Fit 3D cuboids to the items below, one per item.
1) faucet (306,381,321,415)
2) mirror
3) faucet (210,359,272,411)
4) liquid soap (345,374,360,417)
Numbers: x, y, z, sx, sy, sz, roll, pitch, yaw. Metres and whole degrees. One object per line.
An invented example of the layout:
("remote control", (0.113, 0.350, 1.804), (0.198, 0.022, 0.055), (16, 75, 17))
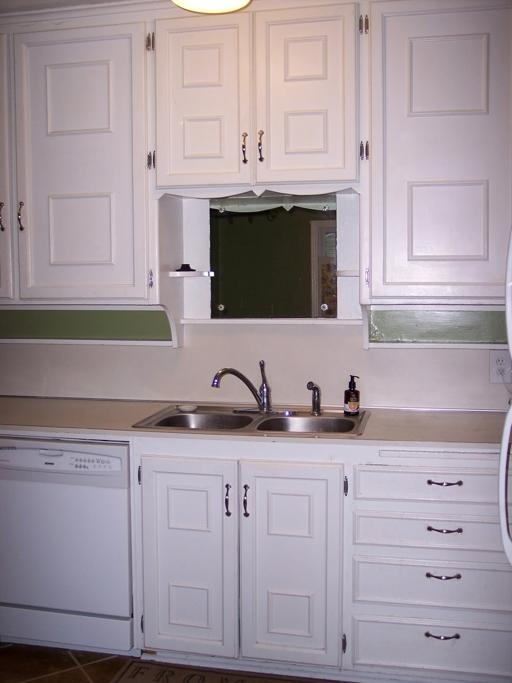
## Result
("faucet", (0.228, 0.220, 2.476), (0.055, 0.137, 0.215), (0, 4, 5))
("mirror", (0.080, -0.366, 2.508), (0.388, 0.441, 0.151), (1, 9, 12))
("faucet", (-0.047, 0.184, 2.459), (0.165, 0.213, 0.377), (1, 5, 21))
("liquid soap", (0.371, 0.209, 2.436), (0.054, 0.152, 0.118), (0, 4, 7))
